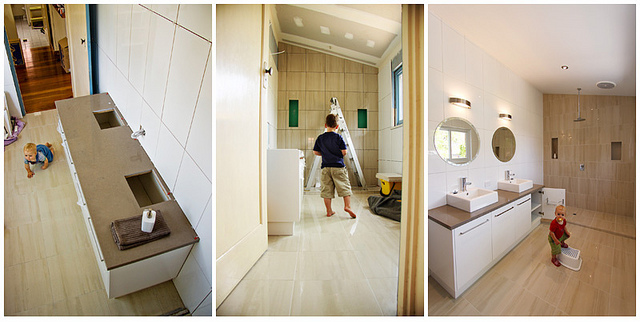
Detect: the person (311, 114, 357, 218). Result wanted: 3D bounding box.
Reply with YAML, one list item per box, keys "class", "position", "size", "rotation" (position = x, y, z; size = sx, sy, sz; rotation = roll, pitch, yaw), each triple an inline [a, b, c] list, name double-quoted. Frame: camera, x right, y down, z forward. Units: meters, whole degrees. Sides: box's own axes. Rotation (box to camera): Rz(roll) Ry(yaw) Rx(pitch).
- class: "person"
  position: [0.209, 0.018, 4.806]
  size: [0.546, 1.323, 1.224]
  rotation: [-1, 6, 2]
